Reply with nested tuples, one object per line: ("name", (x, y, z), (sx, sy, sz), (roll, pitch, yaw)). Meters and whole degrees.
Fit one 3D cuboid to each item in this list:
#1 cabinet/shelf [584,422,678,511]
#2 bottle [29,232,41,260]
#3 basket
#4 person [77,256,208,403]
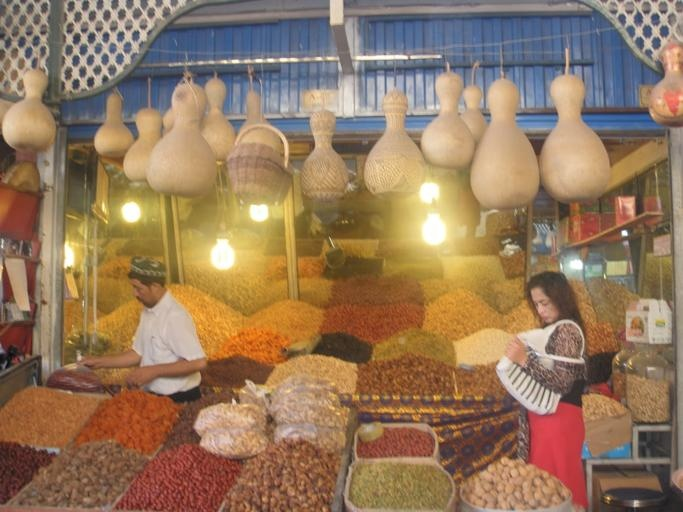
("cabinet/shelf", (1.856, 1.380, 4.340), (0.577, 0.772, 0.497), (0, -8, 1))
("bottle", (-1.999, -0.071, 4.184), (0.042, 0.159, 0.100), (5, -35, -23))
("basket", (-0.438, -0.490, 3.346), (0.258, 0.468, 0.383), (1, -14, 8))
("person", (-1.325, 0.482, 4.297), (0.721, 1.393, 0.814), (1, -10, -34))
